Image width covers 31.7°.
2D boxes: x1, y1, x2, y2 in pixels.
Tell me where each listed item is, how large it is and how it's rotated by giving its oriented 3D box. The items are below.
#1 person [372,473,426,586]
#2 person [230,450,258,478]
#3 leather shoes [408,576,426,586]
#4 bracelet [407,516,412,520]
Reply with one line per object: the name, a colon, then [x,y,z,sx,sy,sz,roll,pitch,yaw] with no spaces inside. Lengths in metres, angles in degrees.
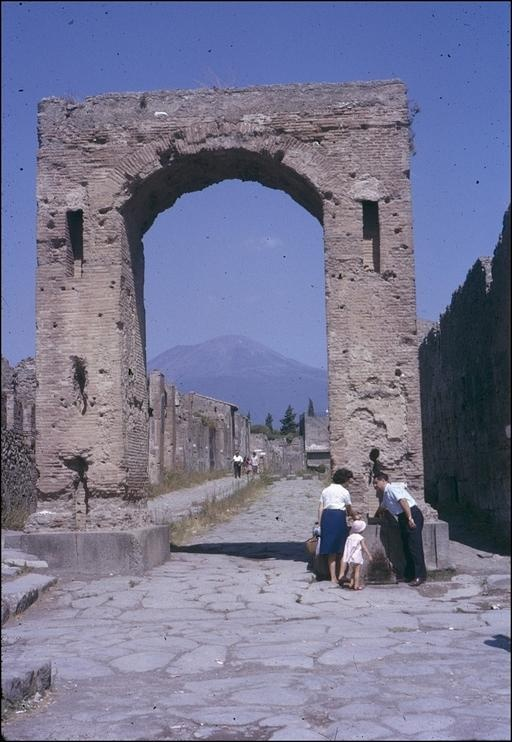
person: [1.425,1.515,8.725,0.361,1.016,0.511,2,-4,-35]
person: [-0.460,3.410,34.106,1.108,1.638,1.154,1,-6,0]
leather shoes: [1.533,1.981,8.494,0.187,0.074,0.153,0,-4,-13]
bracelet: [1.440,1.377,8.451,0.021,0.033,0.034,3,3,-10]
